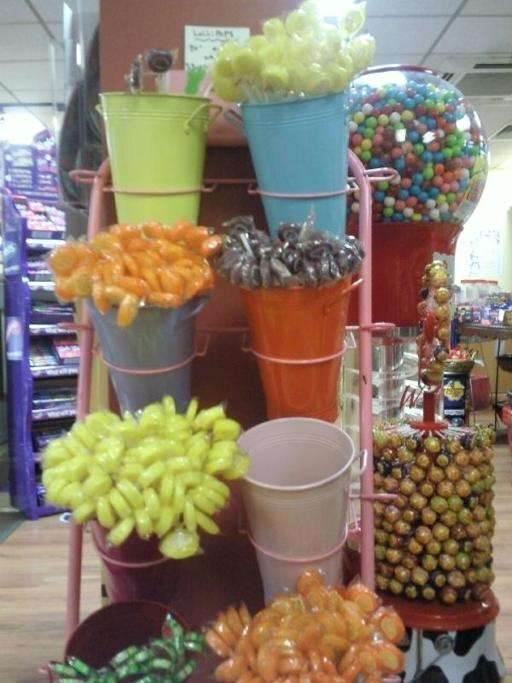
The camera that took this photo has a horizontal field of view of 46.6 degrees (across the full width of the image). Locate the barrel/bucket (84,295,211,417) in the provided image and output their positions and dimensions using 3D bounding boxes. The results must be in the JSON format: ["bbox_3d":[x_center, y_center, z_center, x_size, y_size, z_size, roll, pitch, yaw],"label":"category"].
[{"bbox_3d":[-0.148,0.004,1.003,0.214,0.240,0.185,-2,22,-3],"label":"barrel/bucket"}]

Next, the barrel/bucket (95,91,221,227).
[{"bbox_3d":[-0.128,-0.317,1.096,0.257,0.251,0.215,2,19,2],"label":"barrel/bucket"}]

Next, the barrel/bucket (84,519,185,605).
[{"bbox_3d":[-0.176,0.332,0.890,0.152,0.117,0.136,-2,11,-18],"label":"barrel/bucket"}]
